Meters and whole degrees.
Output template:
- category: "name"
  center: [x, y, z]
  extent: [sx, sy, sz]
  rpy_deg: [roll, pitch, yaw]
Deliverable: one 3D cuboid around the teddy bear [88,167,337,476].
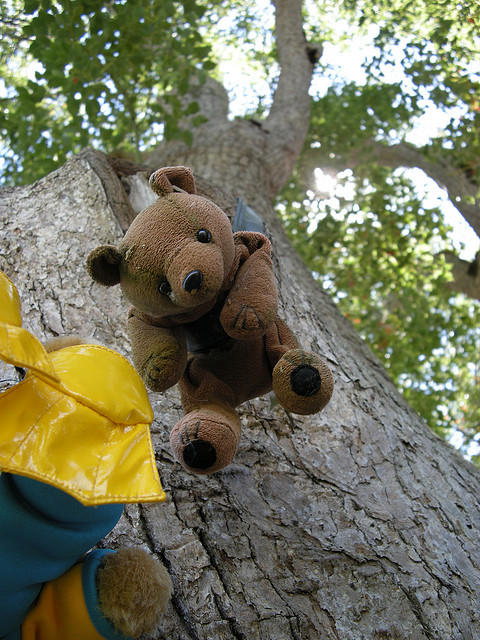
- category: "teddy bear"
  center: [-0.146, -0.026, 2.101]
  extent: [0.672, 0.851, 0.625]
  rpy_deg: [-33, 11, -11]
